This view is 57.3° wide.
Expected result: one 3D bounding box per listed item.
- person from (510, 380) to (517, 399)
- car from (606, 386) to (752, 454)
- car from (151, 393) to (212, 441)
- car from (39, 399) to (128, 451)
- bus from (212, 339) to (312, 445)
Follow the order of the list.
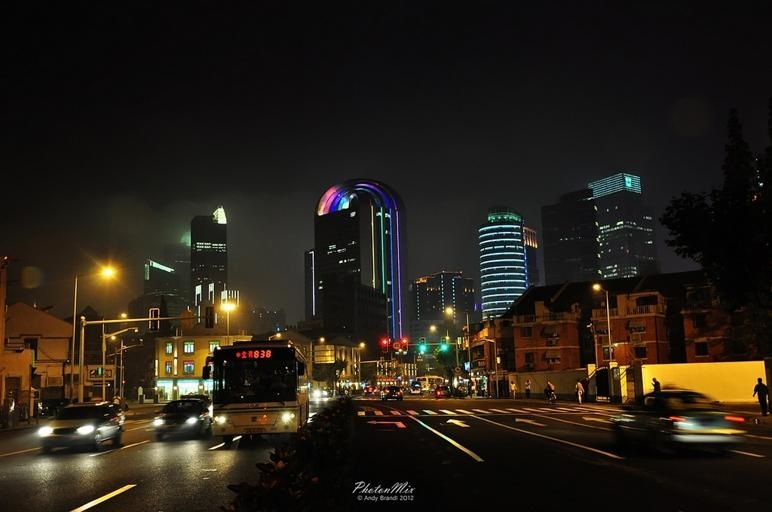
[{"bbox_3d":[15.363,16.219,86.098,0.813,0.728,3.170,-4,-58,8],"label":"person"},{"bbox_3d":[11.284,6.435,27.746,4.437,2.406,1.635,-10,-16,28],"label":"car"},{"bbox_3d":[-10.622,8.457,37.074,2.179,2.228,3.084,-5,-14,10],"label":"car"},{"bbox_3d":[-13.873,7.834,32.539,2.077,2.091,3.299,-9,-16,26],"label":"car"},{"bbox_3d":[-5.823,6.894,35.460,3.015,2.946,6.737,-1,-15,2],"label":"bus"}]
